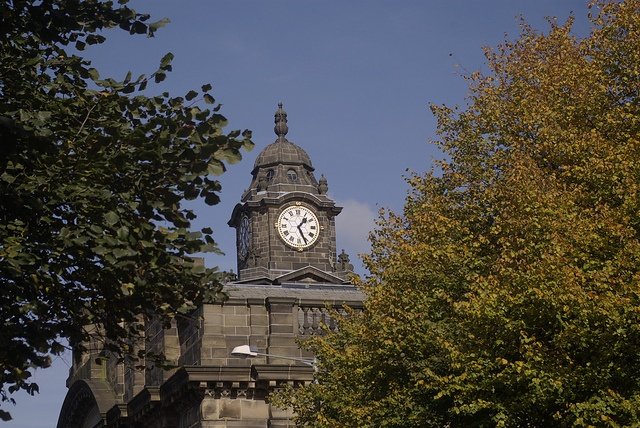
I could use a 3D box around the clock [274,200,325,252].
[{"bbox_3d":[-1.257,0.574,72.448,2.078,2.158,0.978,-2,-43,2],"label":"clock"}]
